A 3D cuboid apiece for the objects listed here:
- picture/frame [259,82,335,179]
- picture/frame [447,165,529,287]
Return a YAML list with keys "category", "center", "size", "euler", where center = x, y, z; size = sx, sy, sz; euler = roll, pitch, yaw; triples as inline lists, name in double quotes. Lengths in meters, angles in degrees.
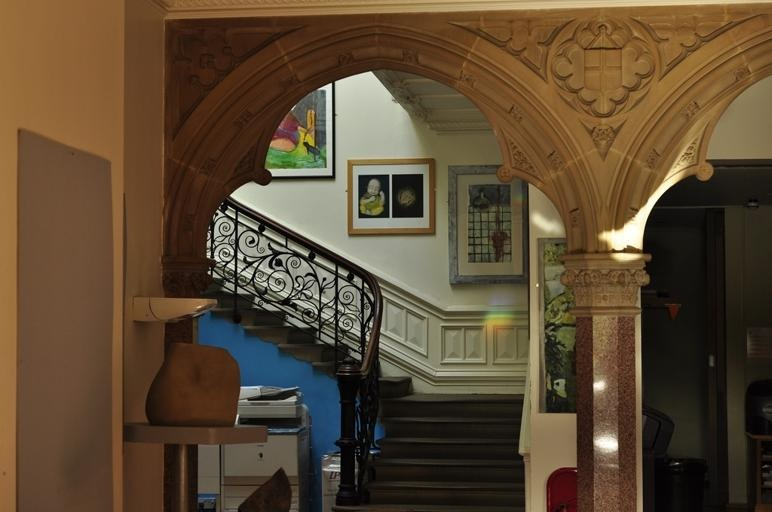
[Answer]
- category: "picture/frame"
  center: [-0.837, -1.194, 12.842]
  size: [1.084, 1.146, 0.064]
  euler: [-1, -6, 12]
- category: "picture/frame"
  center: [1.082, -0.352, 14.082]
  size: [0.839, 1.292, 0.289]
  euler: [-1, -10, 3]
